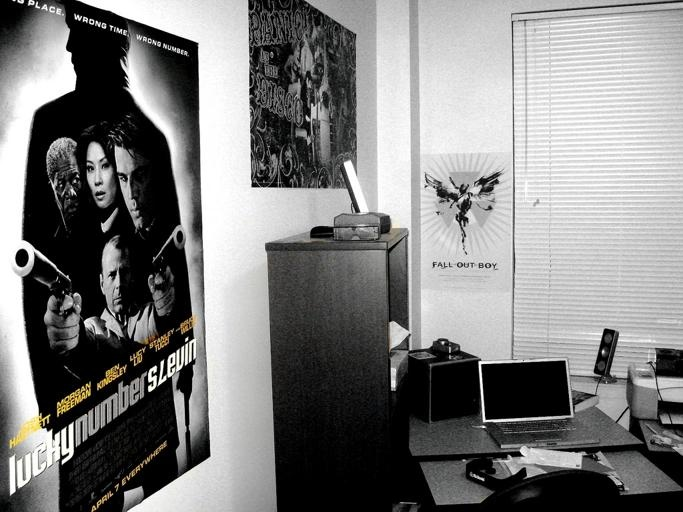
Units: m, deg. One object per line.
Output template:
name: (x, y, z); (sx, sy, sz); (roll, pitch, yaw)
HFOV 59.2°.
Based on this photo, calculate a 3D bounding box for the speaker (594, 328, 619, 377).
speaker: (1.761, 0.651, 4.014); (0.126, 0.348, 0.265); (2, 9, 20)

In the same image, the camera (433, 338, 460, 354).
camera: (0.625, 0.540, 3.629); (0.076, 0.052, 0.141); (1, 5, -10)

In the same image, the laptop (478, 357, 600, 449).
laptop: (1.044, 0.826, 3.390); (0.499, 0.314, 0.445); (-2, 0, -9)
